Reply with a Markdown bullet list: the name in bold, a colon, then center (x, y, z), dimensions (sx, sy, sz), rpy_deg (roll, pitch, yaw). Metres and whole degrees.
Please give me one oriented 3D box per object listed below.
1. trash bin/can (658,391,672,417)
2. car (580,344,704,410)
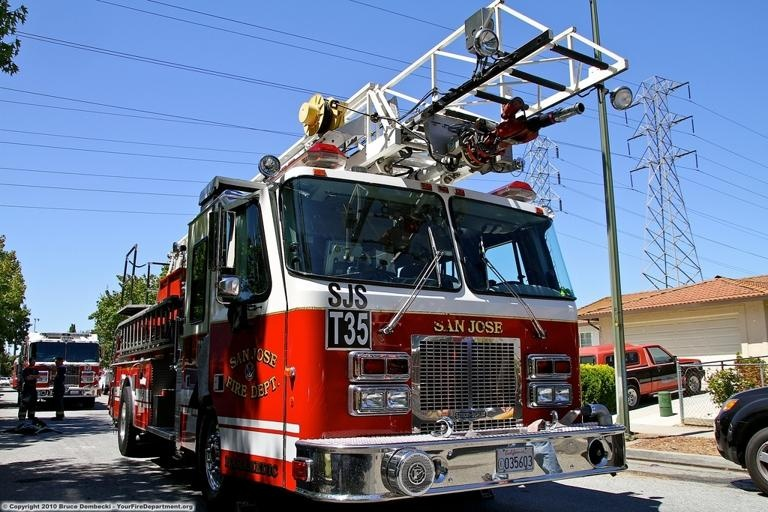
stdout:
- **trash bin/can**: center (7.909, 4.171, 17.751), dimensions (0.297, 0.690, 0.528), rpy_deg (-3, -7, 19)
- **car**: center (8.791, 3.839, 21.350), dimensions (4.354, 1.749, 2.418), rpy_deg (-5, 0, -27)
